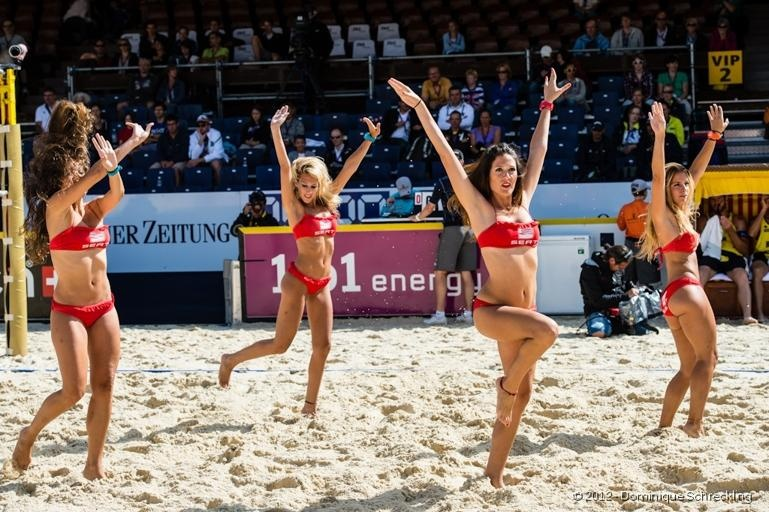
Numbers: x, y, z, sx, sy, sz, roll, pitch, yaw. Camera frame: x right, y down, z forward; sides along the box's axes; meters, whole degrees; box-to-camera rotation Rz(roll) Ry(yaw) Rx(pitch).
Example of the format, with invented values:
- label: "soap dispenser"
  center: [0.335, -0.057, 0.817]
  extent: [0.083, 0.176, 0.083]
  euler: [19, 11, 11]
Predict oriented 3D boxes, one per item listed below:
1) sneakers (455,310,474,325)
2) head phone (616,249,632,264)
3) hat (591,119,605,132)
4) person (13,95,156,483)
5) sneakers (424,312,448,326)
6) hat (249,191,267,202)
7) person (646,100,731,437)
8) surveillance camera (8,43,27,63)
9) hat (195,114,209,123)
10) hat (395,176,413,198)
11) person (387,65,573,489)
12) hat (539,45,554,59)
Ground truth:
- label: "sneakers"
  center: [1.272, 0.954, 16.715]
  extent: [0.348, 0.263, 0.121]
  euler: [6, 4, 34]
- label: "head phone"
  center: [3.436, 0.010, 15.383]
  extent: [0.210, 0.182, 0.215]
  euler: [-13, -44, 33]
- label: "hat"
  center: [3.767, -2.308, 18.929]
  extent: [0.167, 0.143, 0.249]
  euler: [2, 0, 12]
- label: "person"
  center: [-3.331, 0.370, 11.654]
  extent: [1.178, 4.073, 0.693]
  euler: [2, 7, 13]
- label: "sneakers"
  center: [0.823, 0.986, 16.566]
  extent: [0.401, 0.258, 0.150]
  euler: [2, 1, 8]
- label: "hat"
  center: [-2.128, -0.982, 18.012]
  extent: [0.264, 0.206, 0.267]
  euler: [-1, -5, -32]
- label: "person"
  center: [3.346, 0.120, 12.158]
  extent: [0.829, 3.689, 0.970]
  euler: [1, 7, 10]
- label: "surveillance camera"
  center: [-5.014, -2.780, 14.664]
  extent: [0.225, 0.248, 0.657]
  euler: [-3, 8, -20]
- label: "hat"
  center: [-3.387, -2.570, 20.061]
  extent: [0.180, 0.137, 0.266]
  euler: [-3, 9, -1]
- label: "hat"
  center: [0.321, -1.147, 17.979]
  extent: [0.274, 0.416, 0.305]
  euler: [-4, 8, -1]
- label: "person"
  center: [1.166, 0.424, 11.473]
  extent: [1.306, 4.019, 0.949]
  euler: [0, 7, 1]
- label: "hat"
  center: [3.033, -3.829, 20.150]
  extent: [0.252, 0.245, 0.442]
  euler: [-1, 26, 7]
